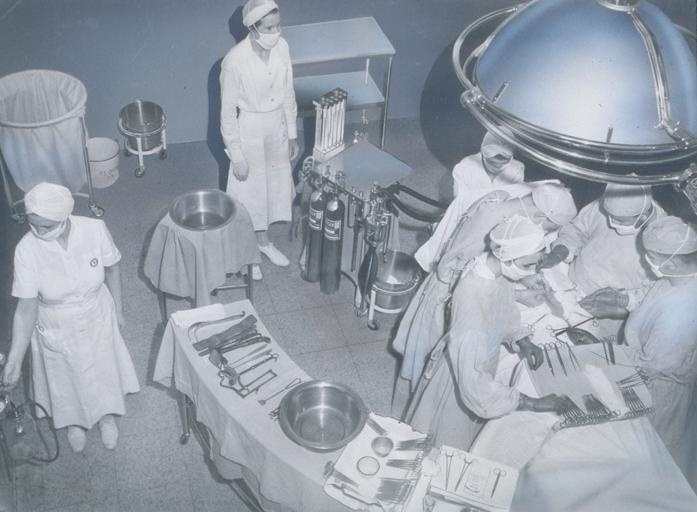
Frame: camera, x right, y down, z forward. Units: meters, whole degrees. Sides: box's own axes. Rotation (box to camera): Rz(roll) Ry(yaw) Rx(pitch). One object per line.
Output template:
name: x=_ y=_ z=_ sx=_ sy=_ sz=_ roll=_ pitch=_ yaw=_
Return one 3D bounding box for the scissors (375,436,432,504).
scissors: x=0.250 y=1.030 z=3.207 sx=0.202 sy=0.019 sz=0.457 roll=9 pitch=49 yaw=17

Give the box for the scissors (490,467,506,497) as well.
scissors: x=0.716 y=1.104 z=3.211 sx=0.049 sy=0.005 sz=0.119 roll=9 pitch=51 yaw=33

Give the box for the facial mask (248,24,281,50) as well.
facial mask: x=-0.555 y=-1.455 z=4.424 sx=0.144 sy=0.089 sz=0.149 roll=-15 pitch=52 yaw=-34

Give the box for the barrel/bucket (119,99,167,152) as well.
barrel/bucket: x=-1.824 y=-1.166 z=6.085 sx=0.443 sy=0.425 sz=0.465 roll=3 pitch=54 yaw=-4

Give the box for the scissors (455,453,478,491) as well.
scissors: x=0.566 y=1.060 z=3.232 sx=0.064 sy=0.008 sz=0.166 roll=19 pitch=43 yaw=15

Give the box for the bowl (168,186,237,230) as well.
bowl: x=-1.039 y=-0.309 z=4.741 sx=0.421 sy=0.167 sz=0.454 roll=-8 pitch=-18 yaw=-3

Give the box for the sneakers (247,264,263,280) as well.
sneakers: x=-0.725 y=0.127 z=5.275 sx=0.079 sy=0.117 sz=0.037 roll=-16 pitch=13 yaw=-9

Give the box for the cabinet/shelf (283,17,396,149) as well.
cabinet/shelf: x=-0.199 y=-1.433 z=5.947 sx=1.111 sy=1.055 sz=0.907 roll=-15 pitch=38 yaw=-16

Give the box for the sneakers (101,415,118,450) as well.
sneakers: x=-1.516 y=1.126 z=4.221 sx=0.101 sy=0.204 sz=0.059 roll=-10 pitch=-10 yaw=-11

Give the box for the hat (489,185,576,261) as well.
hat: x=1.035 y=-0.198 z=3.761 sx=0.286 sy=0.370 sz=0.264 roll=19 pitch=16 yaw=-31

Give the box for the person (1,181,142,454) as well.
person: x=-1.607 y=0.352 z=3.750 sx=0.729 sy=1.620 sz=0.365 roll=-18 pitch=35 yaw=-32

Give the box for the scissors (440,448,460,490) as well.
scissors: x=0.500 y=1.036 z=3.226 sx=0.062 sy=0.007 sz=0.178 roll=3 pitch=38 yaw=4

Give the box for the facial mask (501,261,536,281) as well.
facial mask: x=0.869 y=0.079 z=3.406 sx=0.103 sy=0.076 sz=0.126 roll=-23 pitch=50 yaw=-30
